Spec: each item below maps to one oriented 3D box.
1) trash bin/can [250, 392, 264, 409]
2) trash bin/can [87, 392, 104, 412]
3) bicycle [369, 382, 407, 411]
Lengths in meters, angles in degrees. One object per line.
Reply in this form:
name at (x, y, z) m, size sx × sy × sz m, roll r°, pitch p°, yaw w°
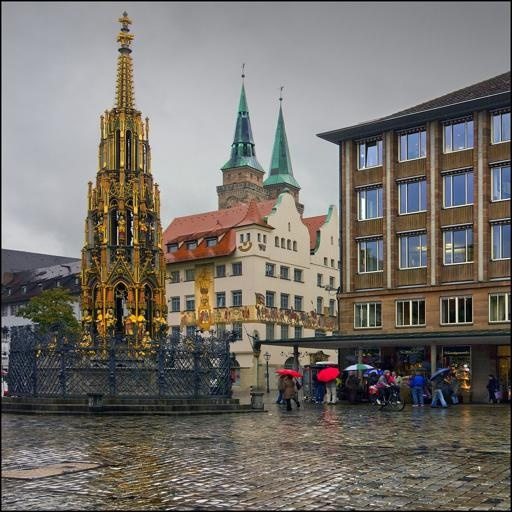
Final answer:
trash bin/can at (0.069, 4.520, 32.465) m, size 0.528 × 0.576 × 0.468 m, roll 1°, pitch -9°, yaw -11°
trash bin/can at (-4.364, 4.030, 28.639) m, size 0.403 × 0.514 × 0.473 m, roll 1°, pitch -10°, yaw -9°
bicycle at (4.385, 4.769, 35.001) m, size 0.678 × 0.757 × 1.326 m, roll 5°, pitch -12°, yaw -38°
